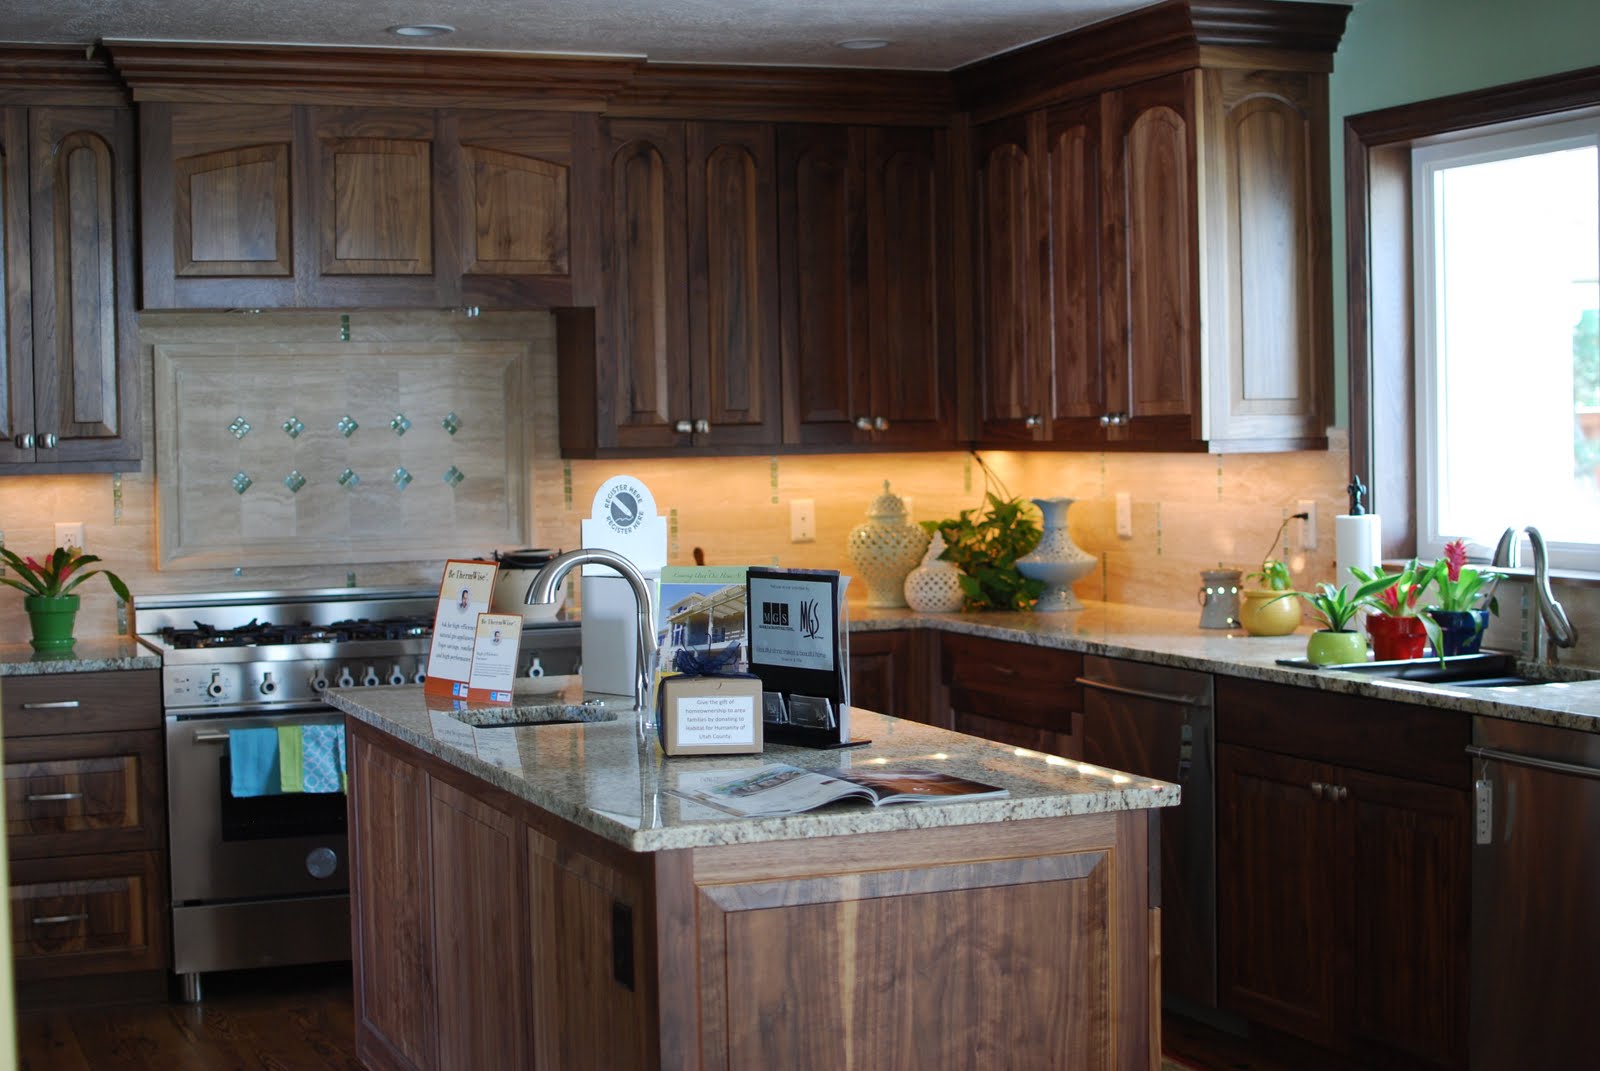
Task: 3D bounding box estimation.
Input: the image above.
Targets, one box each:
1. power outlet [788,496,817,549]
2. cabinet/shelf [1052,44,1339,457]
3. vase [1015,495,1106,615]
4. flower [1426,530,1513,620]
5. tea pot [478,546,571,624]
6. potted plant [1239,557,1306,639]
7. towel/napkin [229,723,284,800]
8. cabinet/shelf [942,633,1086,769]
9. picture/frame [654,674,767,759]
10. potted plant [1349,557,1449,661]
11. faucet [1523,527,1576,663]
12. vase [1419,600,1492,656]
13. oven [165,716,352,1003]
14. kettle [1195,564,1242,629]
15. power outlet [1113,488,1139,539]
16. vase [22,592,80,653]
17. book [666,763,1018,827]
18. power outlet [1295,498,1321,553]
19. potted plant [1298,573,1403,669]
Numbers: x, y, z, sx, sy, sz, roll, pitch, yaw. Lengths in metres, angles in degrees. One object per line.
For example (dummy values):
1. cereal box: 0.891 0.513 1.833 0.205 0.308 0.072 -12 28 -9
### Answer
1. power outlet: 0.010 -0.086 5.768 0.111 0.192 0.033 -4 4 -28
2. cabinet/shelf: 1.500 -0.963 4.543 0.643 1.306 0.283 -1 4 12
3. vase: 0.998 0.055 5.147 0.434 0.508 0.411 -1 1 7
4. flower: 2.006 0.103 4.024 0.247 0.221 0.236 0 -4 15
5. tea pot: -0.935 0.146 4.681 0.386 0.330 0.371 1 -4 0
6. potted plant: 1.572 0.196 4.446 0.187 0.239 0.160 0 4 20
7. towel/napkin: -1.871 0.751 4.534 0.225 0.210 0.061 -3 2 -25
8. cabinet/shelf: 0.745 0.535 4.769 0.341 0.510 0.603 -5 6 -41
9. picture/frame: -0.192 0.386 2.913 0.197 0.131 0.186 0 -1 -6
10. potted plant: 1.781 0.199 4.017 0.318 0.275 0.303 0 -3 -12
11. faucet: 2.150 0.149 3.779 0.123 0.390 0.302 1 4 31
12. vase: 1.965 0.262 3.966 0.170 0.118 0.160 1 -4 -3
13. oven: -1.773 1.116 4.993 1.009 0.985 1.001 -3 -7 -14
14. kettle: 1.449 0.213 4.634 0.204 0.219 0.186 1 -3 2
15. power outlet: 1.319 -0.103 5.376 0.015 0.182 0.113 -4 4 -26
16. vase: -2.644 0.290 4.704 0.227 0.231 0.215 0 -5 -8
17. book: 0.062 0.468 2.642 0.615 0.040 0.417 -2 4 -14
18. power outlet: 1.793 -0.051 4.671 0.020 0.180 0.082 -4 5 -29
19. potted plant: 1.626 0.248 4.002 0.325 0.248 0.306 0 -5 6
